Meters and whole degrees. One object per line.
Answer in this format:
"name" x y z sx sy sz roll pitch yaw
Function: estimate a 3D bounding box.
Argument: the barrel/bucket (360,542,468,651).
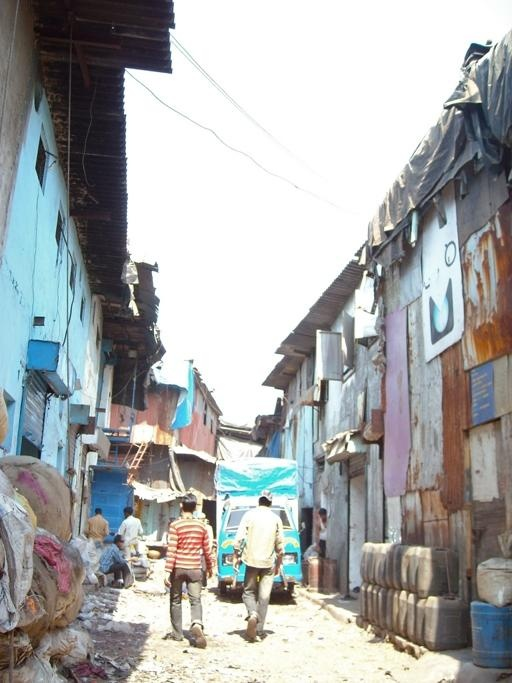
"barrel/bucket" 1.774 2.894 6.354 0.435 1.073 2.440 3 -21 -5

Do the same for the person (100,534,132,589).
"person" -3.152 4.932 12.329 0.756 1.102 1.762 6 -21 -13

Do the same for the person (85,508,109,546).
"person" -4.040 4.706 13.866 0.587 0.964 1.480 7 -21 -16

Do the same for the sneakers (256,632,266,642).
"sneakers" 0.060 3.743 6.908 0.107 0.161 0.129 2 -10 17

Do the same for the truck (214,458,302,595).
"truck" 0.039 4.445 13.308 1.625 3.837 3.754 0 -26 0

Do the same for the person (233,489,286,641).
"person" 0.023 2.938 7.295 0.664 1.833 1.116 1 -17 0
